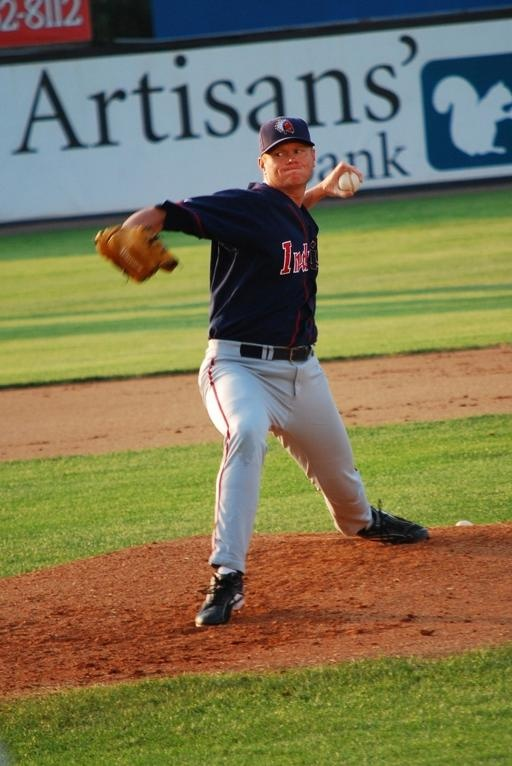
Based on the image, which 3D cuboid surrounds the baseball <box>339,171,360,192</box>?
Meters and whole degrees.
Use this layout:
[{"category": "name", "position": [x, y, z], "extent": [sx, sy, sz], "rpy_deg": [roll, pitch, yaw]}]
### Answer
[{"category": "baseball", "position": [0.365, -0.777, 5.153], "extent": [0.087, 0.078, 0.047], "rpy_deg": [-22, -1, -34]}]

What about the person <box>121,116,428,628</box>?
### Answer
[{"category": "person", "position": [0.018, -0.072, 4.833], "extent": [0.432, 1.761, 1.049], "rpy_deg": [2, 7, 28]}]

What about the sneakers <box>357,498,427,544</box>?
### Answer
[{"category": "sneakers", "position": [0.529, 0.548, 5.316], "extent": [0.327, 0.129, 0.115], "rpy_deg": [3, 20, 23]}]

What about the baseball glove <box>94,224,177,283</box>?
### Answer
[{"category": "baseball glove", "position": [-0.402, -0.423, 4.451], "extent": [0.232, 0.083, 0.171], "rpy_deg": [35, 40, 13]}]

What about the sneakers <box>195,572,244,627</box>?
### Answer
[{"category": "sneakers", "position": [-0.116, 0.721, 4.562], "extent": [0.099, 0.120, 0.259], "rpy_deg": [7, 21, 16]}]
